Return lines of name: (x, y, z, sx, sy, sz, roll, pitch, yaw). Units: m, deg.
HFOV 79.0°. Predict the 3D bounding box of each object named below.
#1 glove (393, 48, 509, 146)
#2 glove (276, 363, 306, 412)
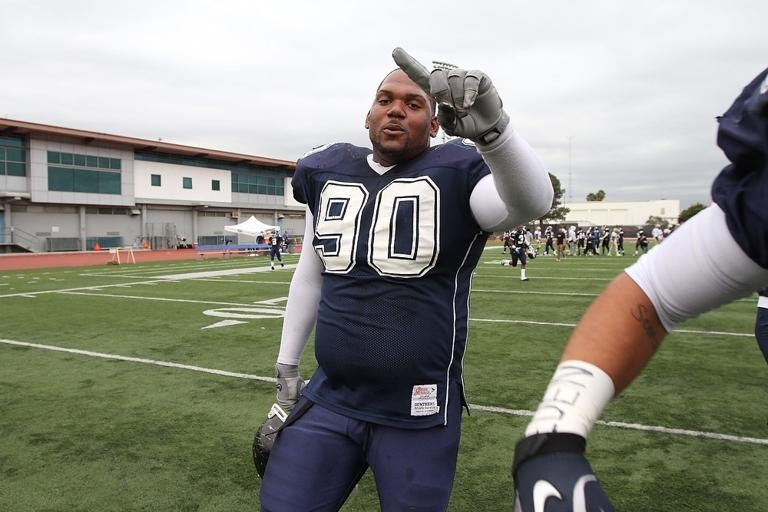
glove: (0.268, -0.463, 1.413, 0.267, 0.240, 0.120, -3, 6, -27)
glove: (-0.465, 0.625, 2.266, 0.137, 0.219, 0.104, -3, -9, 43)
